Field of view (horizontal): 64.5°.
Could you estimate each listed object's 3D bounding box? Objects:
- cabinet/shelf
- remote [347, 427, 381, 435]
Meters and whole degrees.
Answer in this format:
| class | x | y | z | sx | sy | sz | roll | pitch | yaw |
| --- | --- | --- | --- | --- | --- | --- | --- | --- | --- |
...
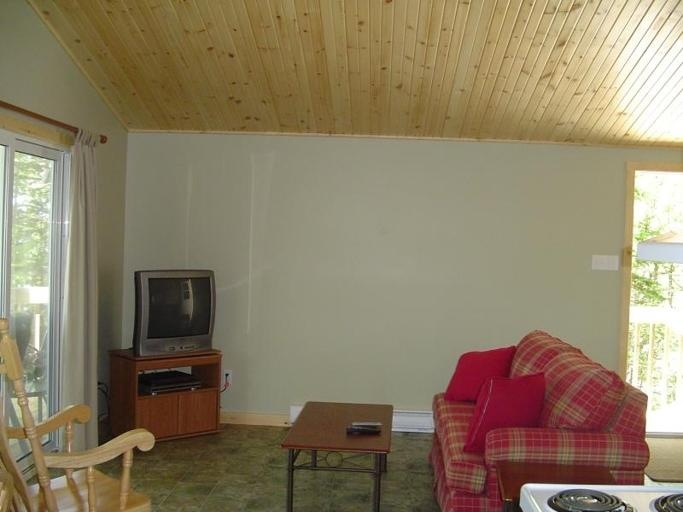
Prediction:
| class | x | y | z | sx | sy | sz | roll | pitch | yaw |
| --- | --- | --- | --- | --- | --- | --- | --- | --- | --- |
| cabinet/shelf | -1.609 | 1.230 | 4.969 | 1.102 | 1.018 | 0.688 | 0 | 3 | -21 |
| remote | 0.142 | 1.138 | 3.543 | 0.224 | 0.045 | 0.075 | 1 | 4 | -7 |
